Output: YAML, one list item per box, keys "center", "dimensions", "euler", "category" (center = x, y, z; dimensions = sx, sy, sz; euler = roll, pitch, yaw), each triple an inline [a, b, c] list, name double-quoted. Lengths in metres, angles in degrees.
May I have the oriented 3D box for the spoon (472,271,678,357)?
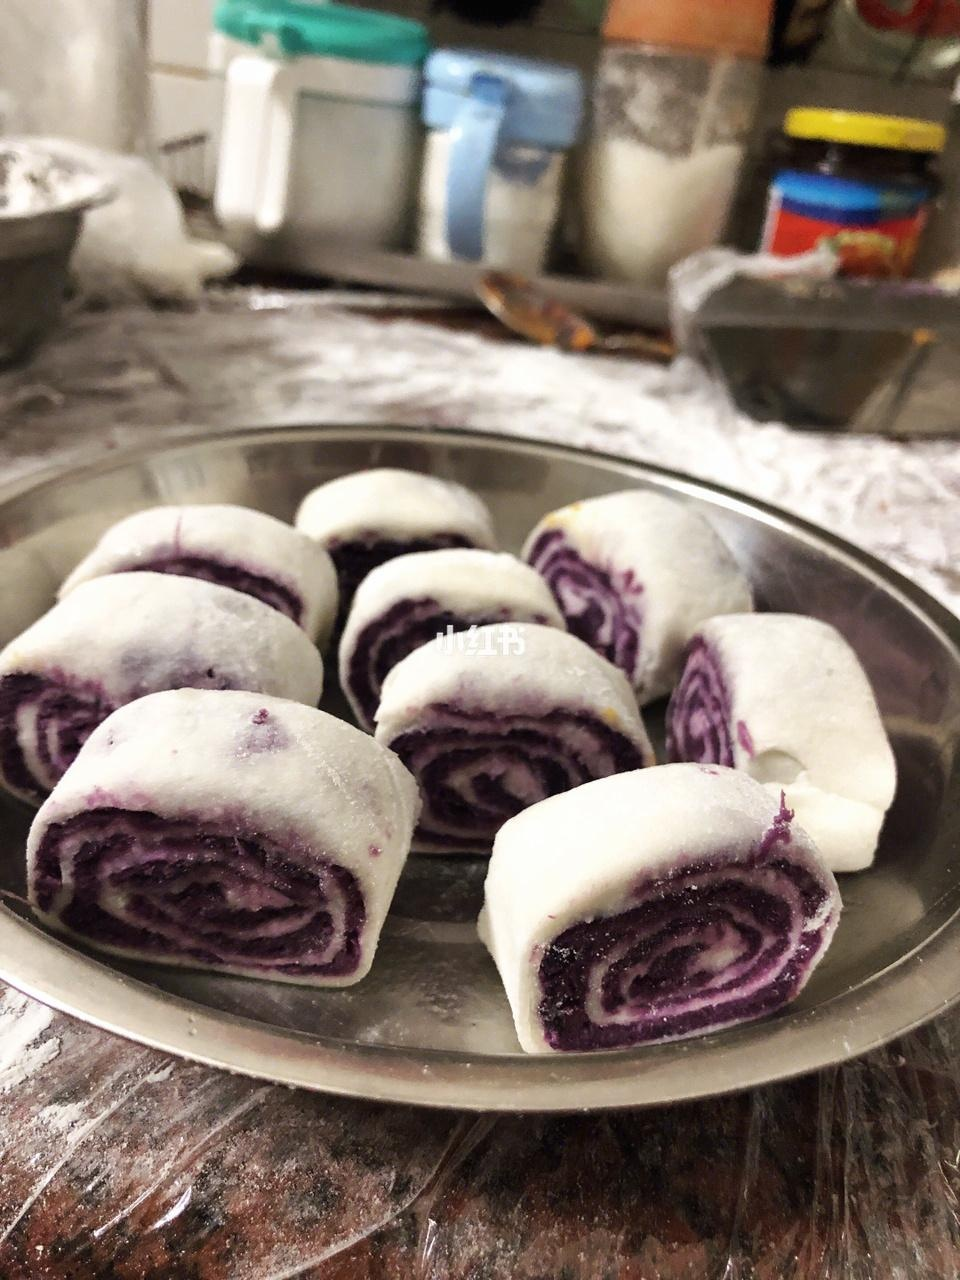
- center: [0.088, -0.497, 1.852]
  dimensions: [0.078, 0.086, 0.231]
  euler: [27, 20, 20]
  category: "spoon"

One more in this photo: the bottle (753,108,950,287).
- center: [0.541, -0.641, 1.730]
  dimensions: [0.247, 0.220, 0.190]
  euler: [14, 34, 5]
  category: "bottle"

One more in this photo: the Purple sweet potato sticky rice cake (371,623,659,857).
- center: [0.003, 0.092, 0.893]
  dimensions: [0.216, 0.126, 0.117]
  euler: [4, -3, -25]
  category: "Purple sweet potato sticky rice cake"

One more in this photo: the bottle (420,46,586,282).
- center: [0.007, -0.716, 1.859]
  dimensions: [0.260, 0.328, 0.347]
  euler: [16, 36, 8]
  category: "bottle"

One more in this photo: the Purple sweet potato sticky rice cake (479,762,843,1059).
- center: [0.099, 0.170, 0.742]
  dimensions: [0.231, 0.133, 0.119]
  euler: [-10, 15, -23]
  category: "Purple sweet potato sticky rice cake"
